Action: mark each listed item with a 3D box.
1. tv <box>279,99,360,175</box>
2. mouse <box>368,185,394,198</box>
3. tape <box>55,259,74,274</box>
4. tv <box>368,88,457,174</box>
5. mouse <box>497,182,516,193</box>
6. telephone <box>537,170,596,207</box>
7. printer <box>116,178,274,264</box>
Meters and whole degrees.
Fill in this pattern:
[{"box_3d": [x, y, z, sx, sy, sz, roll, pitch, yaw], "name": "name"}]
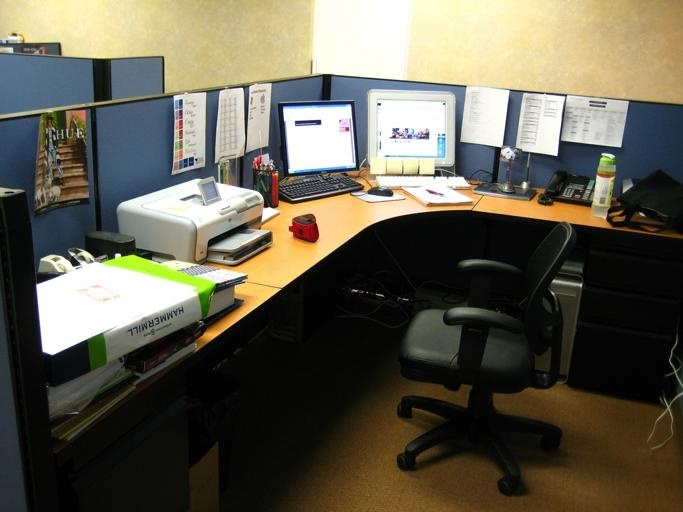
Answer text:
[{"box_3d": [-0.112, -0.655, 2.923, 0.497, 0.378, 0.049, 4, 14, 29], "name": "tv"}, {"box_3d": [0.211, -0.356, 2.867, 0.107, 0.034, 0.067, 6, 28, 16], "name": "mouse"}, {"box_3d": [-0.815, 0.021, 1.525, 0.036, 0.017, 0.069, -24, 45, -36], "name": "tape"}, {"box_3d": [0.413, -0.738, 3.207, 0.520, 0.456, 0.257, 0, -2, -3], "name": "tv"}, {"box_3d": [0.950, -0.394, 2.993, 0.065, 0.033, 0.095, 3, 22, 9], "name": "mouse"}, {"box_3d": [1.255, -0.368, 2.860, 0.219, 0.059, 0.249, 11, 44, 27], "name": "telephone"}, {"box_3d": [-0.591, -0.179, 2.080, 0.363, 0.255, 0.514, 12, 22, 18], "name": "printer"}]
